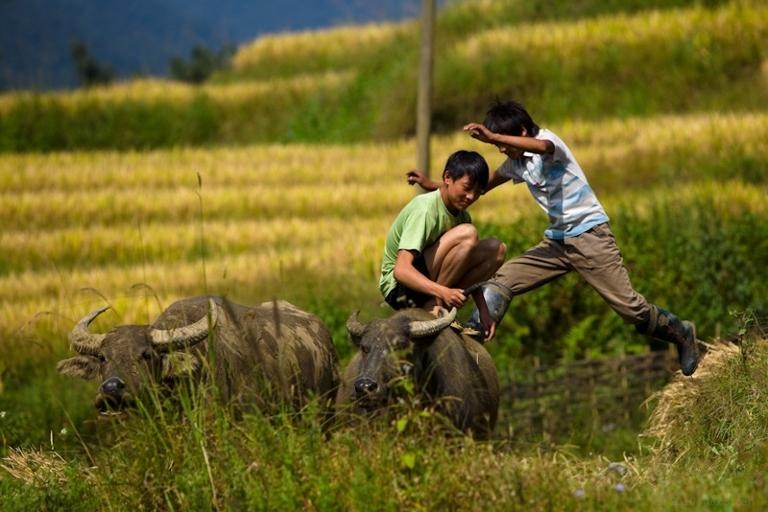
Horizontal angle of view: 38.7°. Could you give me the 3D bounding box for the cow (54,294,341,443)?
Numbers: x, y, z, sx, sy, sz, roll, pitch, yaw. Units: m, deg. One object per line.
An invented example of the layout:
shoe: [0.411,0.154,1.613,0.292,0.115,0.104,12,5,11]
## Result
cow: [-1.718,1.460,11.899,1.409,2.123,3.554,-8,-7,30]

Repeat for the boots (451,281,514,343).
boots: [1.126,0.539,12.088,0.462,0.867,0.554,7,20,-6]

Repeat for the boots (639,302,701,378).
boots: [3.470,1.084,13.388,0.331,1.005,0.752,-21,35,40]
